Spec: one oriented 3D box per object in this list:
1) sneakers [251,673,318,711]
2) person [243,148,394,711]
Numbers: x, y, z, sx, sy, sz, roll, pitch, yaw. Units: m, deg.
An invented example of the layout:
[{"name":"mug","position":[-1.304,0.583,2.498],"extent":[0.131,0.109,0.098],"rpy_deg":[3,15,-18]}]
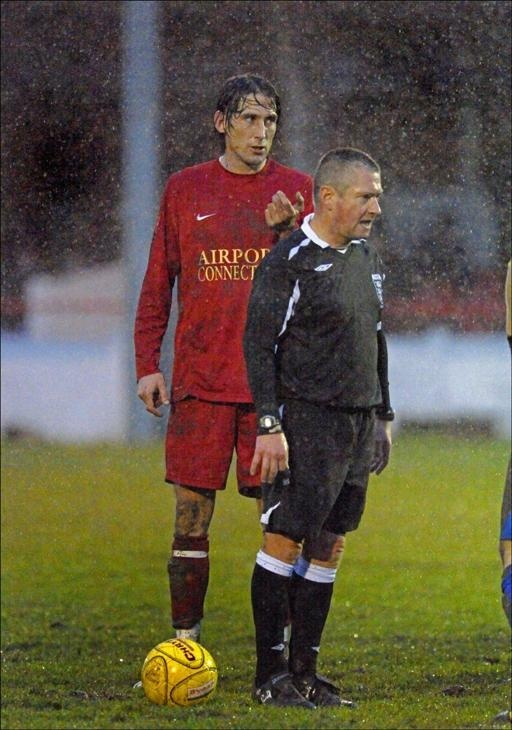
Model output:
[{"name":"sneakers","position":[0.084,1.014,4.725],"extent":[0.071,0.108,0.210],"rpy_deg":[4,-11,-38]},{"name":"person","position":[0.194,0.199,4.791],"extent":[0.513,1.736,0.399],"rpy_deg":[4,7,-9]}]
